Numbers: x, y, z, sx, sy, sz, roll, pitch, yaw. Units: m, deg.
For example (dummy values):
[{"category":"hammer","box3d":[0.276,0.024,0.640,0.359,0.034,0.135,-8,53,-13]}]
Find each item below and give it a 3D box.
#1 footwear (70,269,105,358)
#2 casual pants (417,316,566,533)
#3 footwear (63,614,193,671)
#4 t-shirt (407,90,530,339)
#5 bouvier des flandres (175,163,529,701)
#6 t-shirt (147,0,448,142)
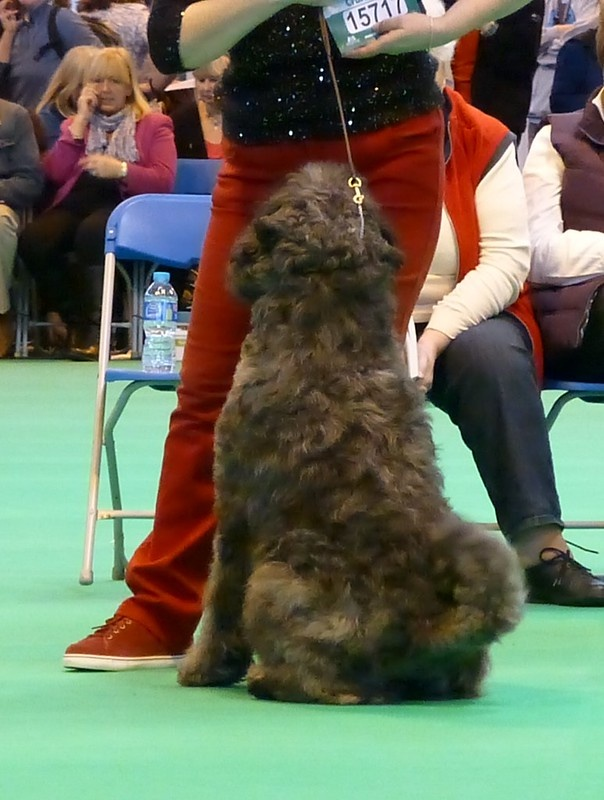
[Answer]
[{"category":"footwear","box3d":[-2.112,-0.926,8.923,0.348,1.063,0.250,11,31,1]},{"category":"casual pants","box3d":[0.779,0.046,3.146,0.436,0.307,0.996,-7,40,8]},{"category":"footwear","box3d":[-0.433,0.588,2.159,0.355,0.118,0.128,15,-22,-41]},{"category":"t-shirt","box3d":[0.606,-0.826,3.379,0.410,0.571,0.657,5,18,9]},{"category":"bouvier des flandres","box3d":[0.095,0.106,1.713,0.485,1.119,0.529,-5,13,-27]},{"category":"t-shirt","box3d":[-0.032,-0.727,1.952,0.667,0.347,0.239,2,11,5]}]
